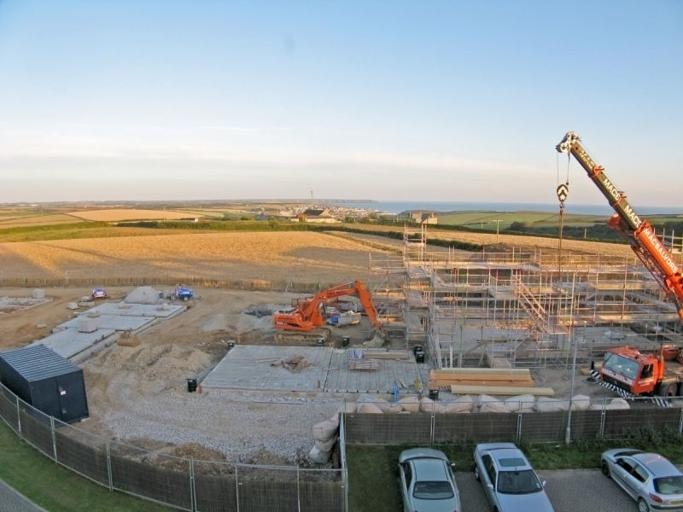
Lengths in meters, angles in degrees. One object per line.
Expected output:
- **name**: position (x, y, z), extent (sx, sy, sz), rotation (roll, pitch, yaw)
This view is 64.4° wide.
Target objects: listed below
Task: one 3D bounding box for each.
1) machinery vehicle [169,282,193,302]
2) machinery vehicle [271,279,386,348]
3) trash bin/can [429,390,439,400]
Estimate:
- **machinery vehicle**: position (-13.148, 2.985, 44.615), extent (1.247, 1.077, 3.100), rotation (-4, 4, -38)
- **machinery vehicle**: position (-0.749, 3.471, 33.312), extent (7.889, 3.067, 2.554), rotation (-5, -3, 38)
- **trash bin/can**: position (4.087, 6.107, 23.959), extent (0.458, 0.391, 0.514), rotation (1, -1, -3)
